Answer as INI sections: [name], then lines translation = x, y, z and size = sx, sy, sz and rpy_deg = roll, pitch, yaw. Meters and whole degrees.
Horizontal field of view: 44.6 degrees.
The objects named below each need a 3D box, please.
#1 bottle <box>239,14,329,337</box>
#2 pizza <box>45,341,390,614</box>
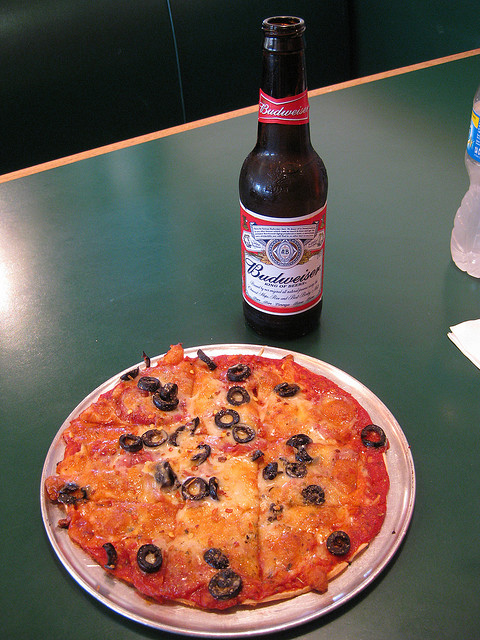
[bottle]
translation = 0.086, -0.218, 1.108
size = 0.182, 0.630, 0.172
rpy_deg = -4, 35, 2
[pizza]
translation = -0.023, 0.219, 0.942
size = 0.499, 0.112, 0.491
rpy_deg = -29, 41, -34
